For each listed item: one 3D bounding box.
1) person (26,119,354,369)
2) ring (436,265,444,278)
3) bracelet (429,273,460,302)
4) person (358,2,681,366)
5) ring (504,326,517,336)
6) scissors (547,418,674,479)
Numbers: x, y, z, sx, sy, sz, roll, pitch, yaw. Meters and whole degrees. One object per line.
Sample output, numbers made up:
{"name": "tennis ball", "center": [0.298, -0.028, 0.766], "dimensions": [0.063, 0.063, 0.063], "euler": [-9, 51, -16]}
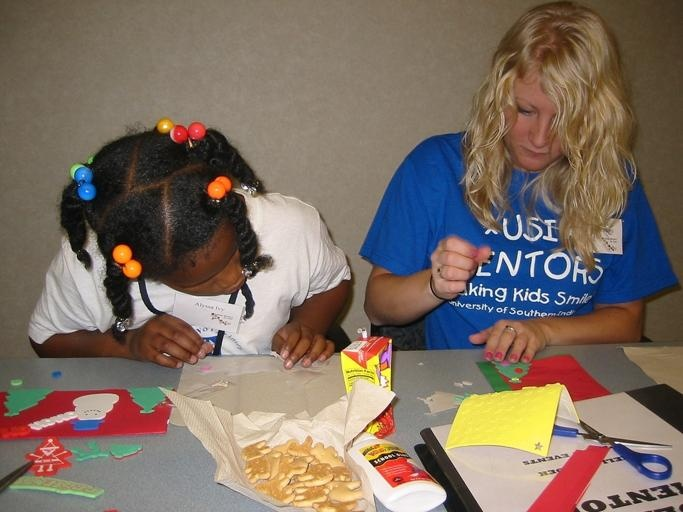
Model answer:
{"name": "person", "center": [-0.453, -0.019, 1.532], "dimensions": [0.549, 0.459, 0.854], "euler": [-21, -11, -4]}
{"name": "ring", "center": [0.247, 0.039, 1.394], "dimensions": [0.006, 0.015, 0.021], "euler": [-1, 38, -22]}
{"name": "bracelet", "center": [0.281, 0.087, 1.473], "dimensions": [0.073, 0.074, 0.053], "euler": [-9, -5, 22]}
{"name": "person", "center": [0.543, -0.179, 1.562], "dimensions": [0.949, 1.031, 0.458], "euler": [2, 11, 2]}
{"name": "ring", "center": [0.446, 0.195, 1.453], "dimensions": [0.030, 0.018, 0.033], "euler": [1, 10, 0]}
{"name": "scissors", "center": [0.541, 0.359, 1.084], "dimensions": [0.092, 0.014, 0.154], "euler": [-19, 22, -36]}
